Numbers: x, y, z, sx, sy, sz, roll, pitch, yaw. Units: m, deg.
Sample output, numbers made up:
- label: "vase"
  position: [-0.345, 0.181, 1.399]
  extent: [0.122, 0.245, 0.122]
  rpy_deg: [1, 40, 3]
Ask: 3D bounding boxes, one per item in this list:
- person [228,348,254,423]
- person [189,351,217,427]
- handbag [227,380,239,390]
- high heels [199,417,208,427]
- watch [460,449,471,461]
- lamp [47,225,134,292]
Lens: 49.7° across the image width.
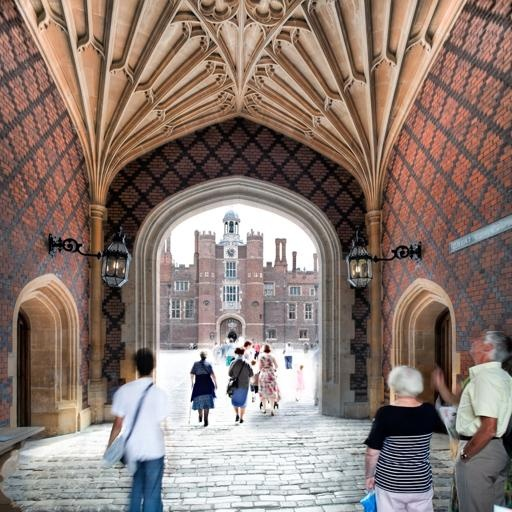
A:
- label: "person"
  position: [-0.266, 2.139, 9.469]
  extent: [0.332, 1.308, 0.354]
  rpy_deg: [1, 9, -2]
- label: "person"
  position: [-0.868, 2.201, 9.038]
  extent: [0.405, 1.145, 0.738]
  rpy_deg: [0, -11, -5]
- label: "handbag"
  position: [-0.381, 2.149, 9.182]
  extent: [0.143, 0.278, 0.122]
  rpy_deg: [1, -3, 1]
- label: "high heels"
  position: [-0.887, 2.794, 9.289]
  extent: [0.083, 0.137, 0.293]
  rpy_deg: [2, -14, -7]
- label: "watch"
  position: [1.478, 1.416, 3.922]
  extent: [0.035, 0.037, 0.059]
  rpy_deg: [2, -6, -2]
- label: "lamp"
  position: [-2.305, -0.031, 7.648]
  extent: [1.012, 0.955, 0.478]
  rpy_deg: [-1, 25, -30]
